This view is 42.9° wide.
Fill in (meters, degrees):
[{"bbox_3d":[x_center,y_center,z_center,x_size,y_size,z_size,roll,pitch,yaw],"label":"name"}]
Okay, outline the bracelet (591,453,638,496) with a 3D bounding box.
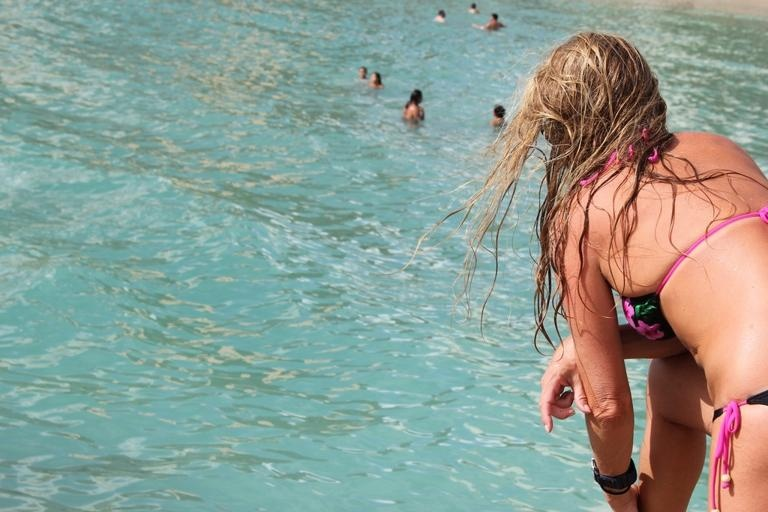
[{"bbox_3d":[1.660,1.577,7.043,0.340,0.252,0.170,-4,-3,9],"label":"bracelet"}]
